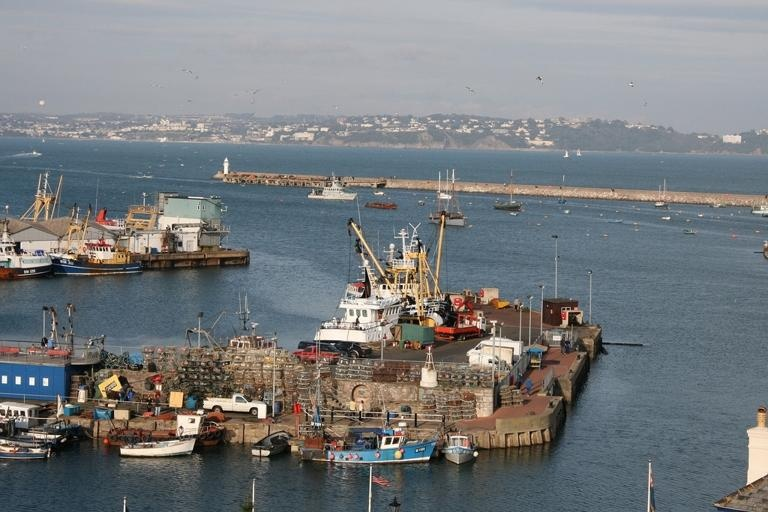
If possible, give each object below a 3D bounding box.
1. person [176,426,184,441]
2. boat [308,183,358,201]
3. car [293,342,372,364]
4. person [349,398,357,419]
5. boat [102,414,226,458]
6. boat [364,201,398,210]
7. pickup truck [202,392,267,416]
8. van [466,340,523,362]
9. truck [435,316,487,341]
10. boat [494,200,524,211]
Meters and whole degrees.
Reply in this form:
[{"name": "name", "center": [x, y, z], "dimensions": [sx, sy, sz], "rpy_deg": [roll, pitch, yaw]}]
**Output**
[{"name": "person", "center": [-10.133, 8.636, 79.361], "dimensions": [0.586, 0.495, 0.990], "rpy_deg": [5, -1, -5]}, {"name": "boat", "center": [-5.932, -7.096, 181.508], "dimensions": [6.939, 2.442, 2.103], "rpy_deg": [-1, 10, 2]}, {"name": "car", "center": [-2.960, 5.063, 85.697], "dimensions": [3.791, 0.966, 4.563], "rpy_deg": [1, 0, 10]}, {"name": "person", "center": [-1.631, 7.687, 81.067], "dimensions": [0.347, 0.852, 1.047], "rpy_deg": [1, 0, -2]}, {"name": "boat", "center": [-10.726, 8.937, 79.476], "dimensions": [4.805, 1.435, 2.503], "rpy_deg": [0, 2, 4]}, {"name": "boat", "center": [-0.440, -5.171, 167.001], "dimensions": [2.654, 0.756, 4.491], "rpy_deg": [1, 0, -17]}, {"name": "pickup truck", "center": [-7.440, 7.470, 80.982], "dimensions": [2.899, 0.957, 1.224], "rpy_deg": [0, 3, 8]}, {"name": "van", "center": [5.767, 4.977, 85.626], "dimensions": [2.457, 0.982, 1.402], "rpy_deg": [1, 2, 4]}, {"name": "truck", "center": [4.406, 4.114, 91.179], "dimensions": [2.652, 0.961, 1.347], "rpy_deg": [-5, 7, -44]}, {"name": "boat", "center": [12.386, -5.266, 169.611], "dimensions": [4.462, 1.413, 1.319], "rpy_deg": [0, 4, 37]}]
